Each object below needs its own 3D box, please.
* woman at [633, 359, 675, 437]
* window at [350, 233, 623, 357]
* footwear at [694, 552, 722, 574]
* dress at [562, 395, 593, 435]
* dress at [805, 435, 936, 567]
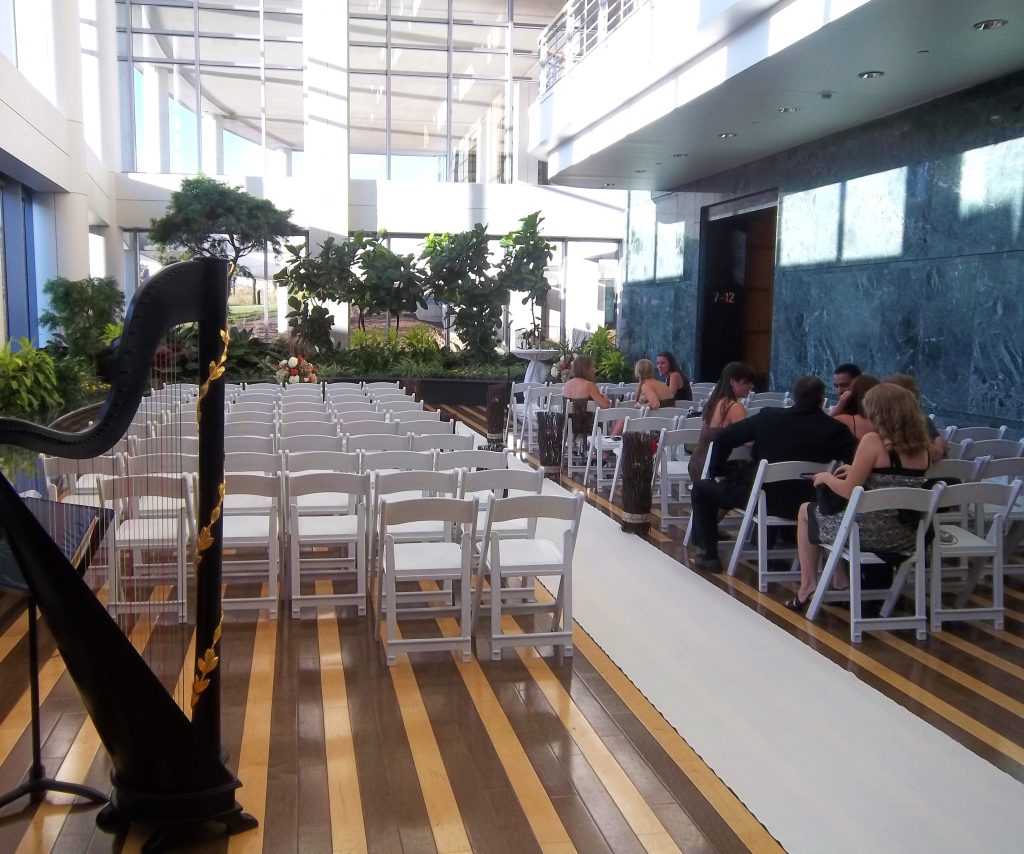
[{"bbox_3d":[1.487,-0.414,8.697,0.387,0.698,0.499,-11,13,-28],"label":"woman"},{"bbox_3d":[-0.756,-3.329,19.715,6.835,2.705,4.150,1,9,-1],"label":"window"},{"bbox_3d":[1.360,0.926,5.640,0.102,0.122,0.176,-4,19,-15],"label":"footwear"},{"bbox_3d":[0.765,-0.146,9.288,0.283,0.574,0.378,0,20,2],"label":"dress"},{"bbox_3d":[1.964,0.351,4.561,0.538,0.961,0.688,-1,12,-4],"label":"dress"}]
